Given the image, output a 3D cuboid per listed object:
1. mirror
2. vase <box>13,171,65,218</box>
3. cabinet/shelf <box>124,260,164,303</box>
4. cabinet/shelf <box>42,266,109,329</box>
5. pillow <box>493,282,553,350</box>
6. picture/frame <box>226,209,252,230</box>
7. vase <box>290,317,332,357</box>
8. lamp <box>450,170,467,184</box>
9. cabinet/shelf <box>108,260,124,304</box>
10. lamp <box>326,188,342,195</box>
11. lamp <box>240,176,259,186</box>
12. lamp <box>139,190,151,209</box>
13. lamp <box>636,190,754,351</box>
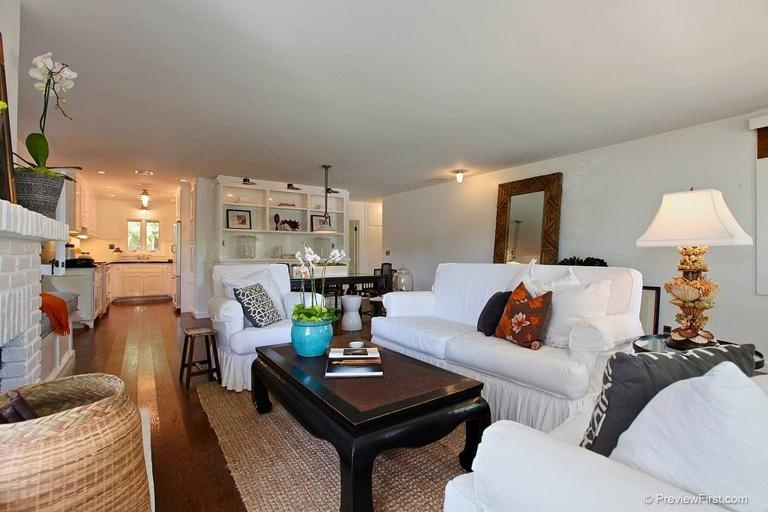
[{"bbox_3d":[2.052,-0.505,6.684,0.181,1.211,1.020,-3,2,-40],"label":"mirror"},{"bbox_3d":[-2.117,-0.363,2.869,0.272,0.224,0.243,1,1,-39],"label":"vase"},{"bbox_3d":[-4.973,0.523,9.838,1.074,0.965,0.623,2,-4,-39],"label":"cabinet/shelf"},{"bbox_3d":[-3.774,0.508,5.688,0.345,0.424,0.875,-1,-1,-21],"label":"cabinet/shelf"},{"bbox_3d":[1.057,0.462,3.575,0.126,0.398,0.416,22,-5,-24],"label":"pillow"},{"bbox_3d":[-2.444,-0.594,7.786,0.371,0.298,0.027,7,-7,-38],"label":"picture/frame"},{"bbox_3d":[-0.537,0.606,3.446,0.275,0.211,0.273,1,-11,-2],"label":"vase"},{"bbox_3d":[1.154,-1.203,7.192,0.180,0.114,0.180,-1,-1,25],"label":"lamp"},{"bbox_3d":[-5.344,0.524,9.315,0.218,0.770,0.699,-2,2,-29],"label":"cabinet/shelf"},{"bbox_3d":[-0.943,-1.163,8.494,0.184,0.066,0.132,1,-1,23],"label":"lamp"},{"bbox_3d":[-2.219,-1.217,7.736,0.123,0.126,0.271,0,1,41],"label":"lamp"},{"bbox_3d":[-4.885,-1.145,9.504,0.214,0.375,0.212,1,-4,-6],"label":"lamp"},{"bbox_3d":[2.058,0.073,3.129,0.417,1.042,0.506,-2,2,-22],"label":"lamp"}]
